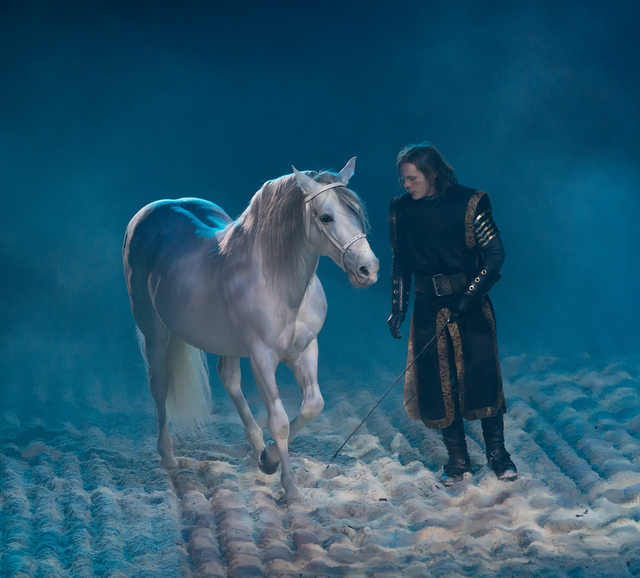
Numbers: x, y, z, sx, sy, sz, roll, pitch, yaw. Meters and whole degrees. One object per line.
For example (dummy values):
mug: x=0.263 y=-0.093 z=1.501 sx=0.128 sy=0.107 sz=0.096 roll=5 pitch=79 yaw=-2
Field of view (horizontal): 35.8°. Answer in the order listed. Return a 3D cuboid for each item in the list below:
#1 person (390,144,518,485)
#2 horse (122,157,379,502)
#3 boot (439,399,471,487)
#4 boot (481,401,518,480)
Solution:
person: x=0.768 y=0.141 z=5.721 sx=0.724 sy=1.953 sz=0.419 roll=-1 pitch=11 yaw=6
horse: x=-0.498 y=0.254 z=6.039 sx=0.738 sy=2.011 sz=2.618 roll=-9 pitch=8 yaw=-34
boot: x=0.796 y=0.891 z=5.821 sx=0.183 sy=0.496 sz=0.197 roll=-5 pitch=13 yaw=-16
boot: x=1.052 y=0.882 z=5.755 sx=0.171 sy=0.413 sz=0.240 roll=-5 pitch=11 yaw=-15
